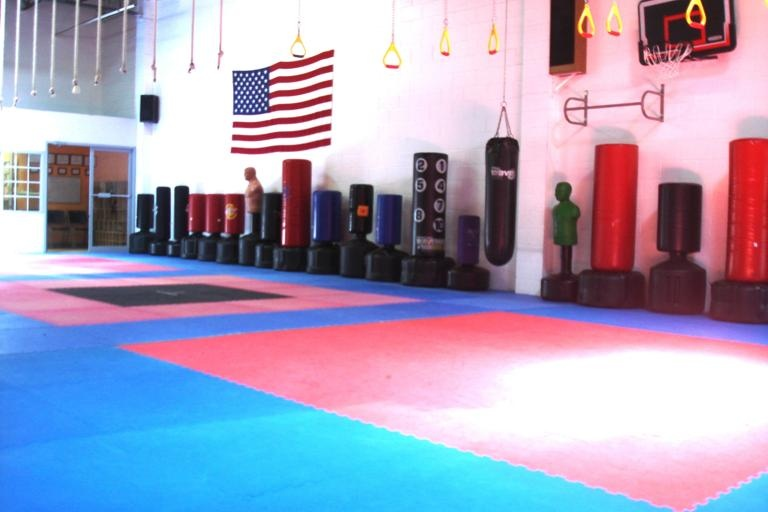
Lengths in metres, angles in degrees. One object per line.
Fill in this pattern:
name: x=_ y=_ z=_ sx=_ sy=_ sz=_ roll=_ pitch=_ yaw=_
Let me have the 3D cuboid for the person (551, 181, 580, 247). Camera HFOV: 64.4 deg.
person: x=2.102 y=-0.478 z=7.040 sx=0.293 sy=0.738 sz=0.394 roll=2 pitch=7 yaw=1
